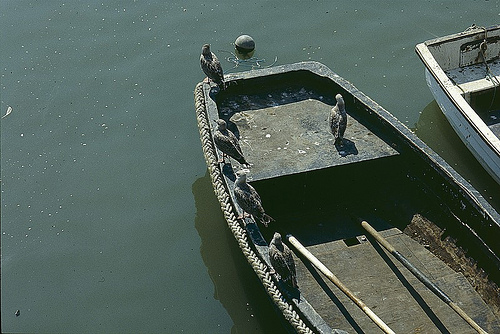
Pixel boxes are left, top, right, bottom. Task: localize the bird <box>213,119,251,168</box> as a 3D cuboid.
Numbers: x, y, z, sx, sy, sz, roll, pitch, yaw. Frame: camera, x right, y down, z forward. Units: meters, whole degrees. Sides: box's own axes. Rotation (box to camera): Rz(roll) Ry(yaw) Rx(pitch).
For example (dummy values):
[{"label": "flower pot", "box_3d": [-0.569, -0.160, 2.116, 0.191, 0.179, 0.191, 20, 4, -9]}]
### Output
[{"label": "bird", "box_3d": [-0.450, -0.535, 22.390, 1.011, 1.076, 0.504, 25, 41, 24]}]
